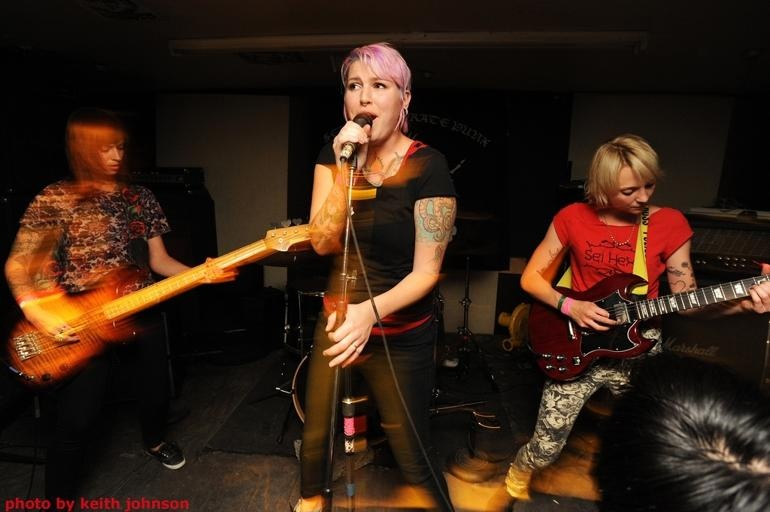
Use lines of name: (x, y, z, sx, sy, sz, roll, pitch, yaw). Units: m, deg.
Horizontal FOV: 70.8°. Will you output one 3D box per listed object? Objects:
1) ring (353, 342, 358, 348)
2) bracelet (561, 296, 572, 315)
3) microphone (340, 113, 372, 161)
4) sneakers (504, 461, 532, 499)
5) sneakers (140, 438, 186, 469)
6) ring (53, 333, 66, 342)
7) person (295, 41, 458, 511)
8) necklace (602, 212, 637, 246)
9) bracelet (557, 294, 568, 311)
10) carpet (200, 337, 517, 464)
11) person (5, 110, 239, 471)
ring: (-0.148, 0.444, 2.708, 0.025, 0.017, 0.024, 0, -5, 0)
bracelet: (1.147, 0.311, 3.402, 0.072, 0.087, 0.090, 7, 10, 8)
microphone: (-0.138, -0.607, 2.750, 0.076, 0.243, 0.212, 9, 14, 24)
sneakers: (0.876, 1.441, 3.557, 0.183, 0.243, 0.156, 12, 8, 19)
sneakers: (-1.603, 1.400, 3.932, 0.381, 0.141, 0.137, 17, 16, 20)
ring: (-1.986, 0.496, 3.320, 0.051, 0.012, 0.054, 16, 24, -7)
person: (-0.044, 0.281, 2.968, 0.790, 2.780, 0.573, 1, 13, -11)
necklace: (1.459, -0.168, 3.340, 0.222, 0.255, 0.027, -1, -6, 14)
bracelet: (1.120, 0.292, 3.422, 0.064, 0.078, 0.079, 11, 24, -3)
carpet: (-0.460, 1.339, 4.540, 2.802, 0.028, 3.035, 19, -30, -18)
person: (-1.843, 0.300, 3.527, 0.994, 2.448, 0.543, -6, 15, -35)
